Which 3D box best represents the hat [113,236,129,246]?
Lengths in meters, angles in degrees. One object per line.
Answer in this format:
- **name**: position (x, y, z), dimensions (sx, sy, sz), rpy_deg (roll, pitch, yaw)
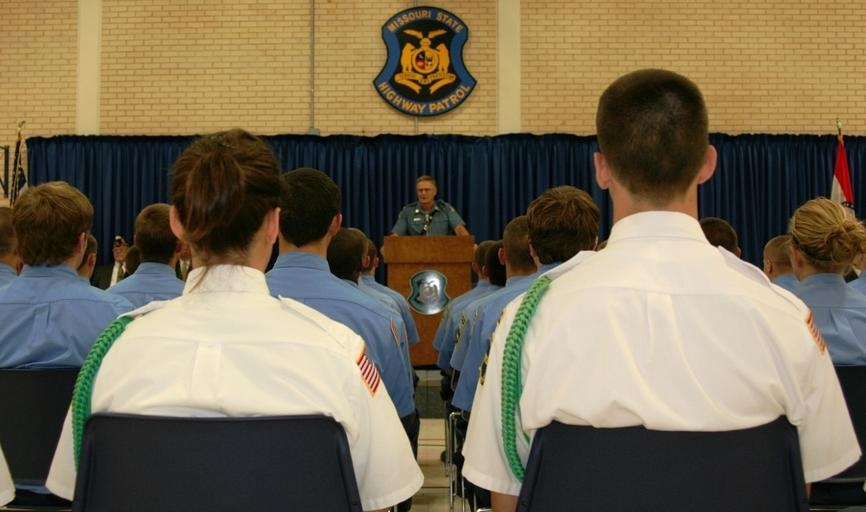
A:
- **hat**: position (-4.254, -0.238, 21.944), dimensions (0.136, 0.117, 0.159), rpy_deg (0, 3, -2)
